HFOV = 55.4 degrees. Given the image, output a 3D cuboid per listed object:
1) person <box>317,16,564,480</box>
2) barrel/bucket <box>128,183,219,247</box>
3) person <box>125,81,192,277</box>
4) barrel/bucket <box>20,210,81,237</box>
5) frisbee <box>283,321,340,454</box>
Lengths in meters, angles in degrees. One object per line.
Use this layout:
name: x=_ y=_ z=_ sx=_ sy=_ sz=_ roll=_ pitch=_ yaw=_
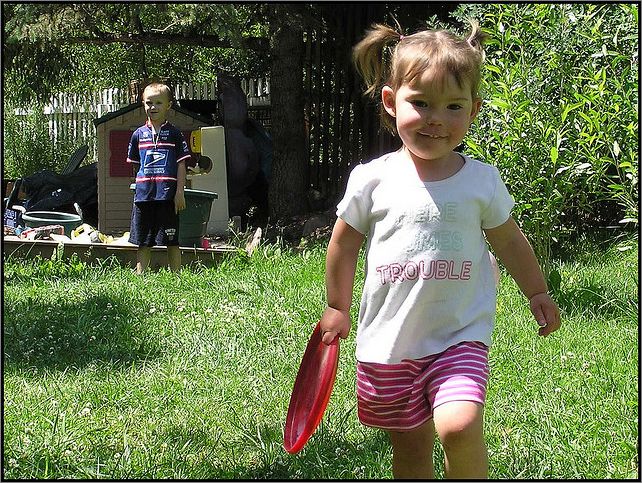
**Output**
person: x=0.424 y=0.029 z=2.451 sx=0.933 sy=1.773 sz=0.835 roll=7 pitch=16 yaw=32
barrel/bucket: x=-1.609 y=-0.300 z=7.073 sx=0.803 sy=0.644 sz=0.851 roll=8 pitch=-1 yaw=0
person: x=-1.556 y=-0.603 z=5.844 sx=0.630 sy=1.777 sz=0.462 roll=-6 pitch=14 yaw=-19
barrel/bucket: x=-3.265 y=-0.227 z=7.380 sx=0.699 sy=0.301 sz=0.540 roll=5 pitch=16 yaw=23
frisbee: x=-0.040 y=0.640 z=2.654 sx=0.079 sy=0.515 sz=0.413 roll=17 pitch=0 yaw=-10
